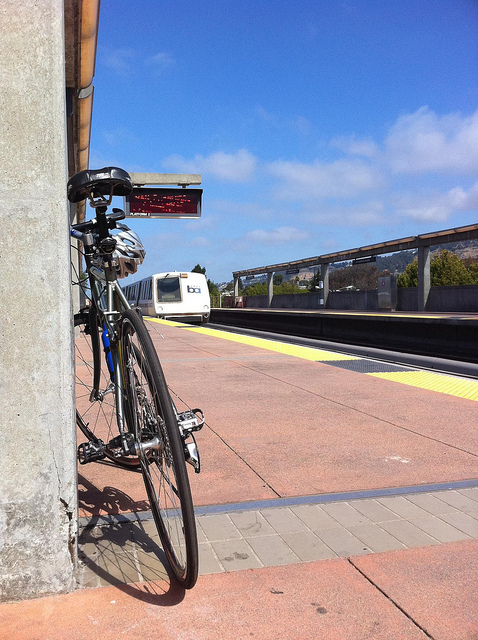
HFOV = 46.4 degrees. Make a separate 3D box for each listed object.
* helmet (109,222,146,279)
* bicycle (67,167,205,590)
[{"bbox_3d":[-0.644,-0.376,2.900,0.304,0.186,0.240,7,8,-14],"label":"helmet"},{"bbox_3d":[-0.461,0.164,2.364,0.479,1.658,1.307,-1,3,-22],"label":"bicycle"}]
